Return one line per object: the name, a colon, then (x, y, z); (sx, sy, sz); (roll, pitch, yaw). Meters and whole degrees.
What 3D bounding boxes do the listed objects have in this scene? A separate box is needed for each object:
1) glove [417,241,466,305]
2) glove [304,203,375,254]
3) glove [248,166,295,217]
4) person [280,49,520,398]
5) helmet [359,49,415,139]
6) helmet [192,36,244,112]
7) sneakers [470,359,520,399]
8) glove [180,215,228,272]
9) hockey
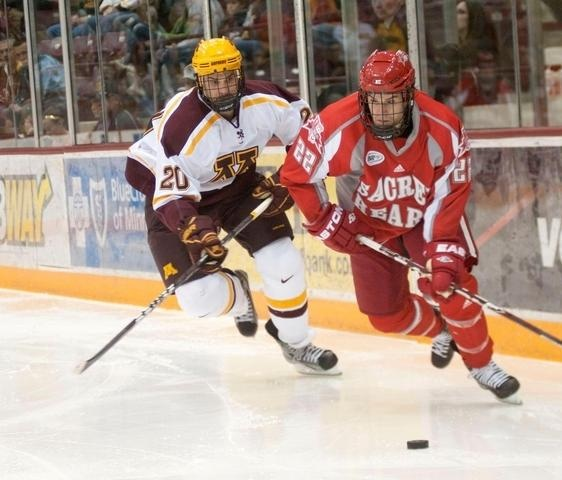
glove: (0.605, 0.121, 3.186); (0.188, 0.209, 0.104); (7, -6, 28)
glove: (0.231, -0.044, 3.380); (0.244, 0.164, 0.105); (32, 11, -3)
glove: (-0.058, -0.223, 3.837); (0.151, 0.099, 0.205); (-42, -18, 9)
person: (0.440, -0.038, 3.276); (0.608, 1.367, 0.590); (-11, 12, -26)
helmet: (0.393, -0.539, 3.123); (0.174, 0.316, 0.179); (2, 13, 34)
helmet: (-0.261, -0.697, 3.582); (0.203, 0.320, 0.130); (-5, 11, -2)
sneakers: (0.832, 0.548, 3.353); (0.091, 0.099, 0.221); (-40, 26, -12)
glove: (-0.323, 0.013, 3.575); (0.184, 0.225, 0.106); (-31, 3, -5)
hockey: (-0.534, 0.248, 4.399); (1.456, 0.115, 0.136); (-36, 48, -15)
